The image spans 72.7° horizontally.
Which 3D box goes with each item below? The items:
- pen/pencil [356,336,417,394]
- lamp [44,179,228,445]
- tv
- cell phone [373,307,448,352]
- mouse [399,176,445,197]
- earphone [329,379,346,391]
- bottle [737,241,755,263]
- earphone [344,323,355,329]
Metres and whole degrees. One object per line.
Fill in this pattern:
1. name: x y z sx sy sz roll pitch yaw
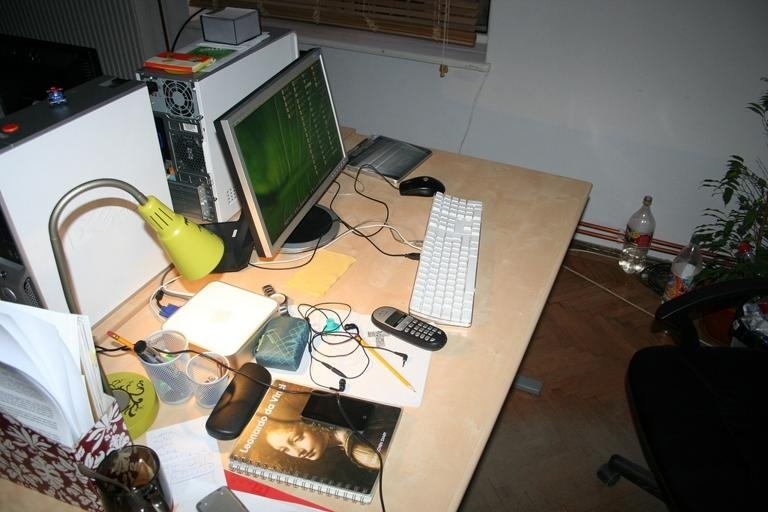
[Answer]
1. pen/pencil: 0.008 0.329 1.540 0.212 0.015 0.015 41 79 13
2. lamp: -0.697 0.172 1.450 0.528 0.737 0.229 -9 48 -18
3. tv: -0.357 -0.332 1.763 0.128 0.486 0.664 3 44 23
4. cell phone: 0.079 0.232 1.620 0.234 0.031 0.100 21 52 19
5. mouse: 0.157 -0.273 2.062 0.147 0.048 0.084 3 37 3
6. earphone: -0.135 0.369 1.517 0.038 0.024 0.039 39 59 -23
7. bottle: 1.605 -0.015 2.330 0.061 0.066 0.066 -13 58 23
8. earphone: -0.104 0.220 1.623 0.037 0.012 0.022 10 27 2
